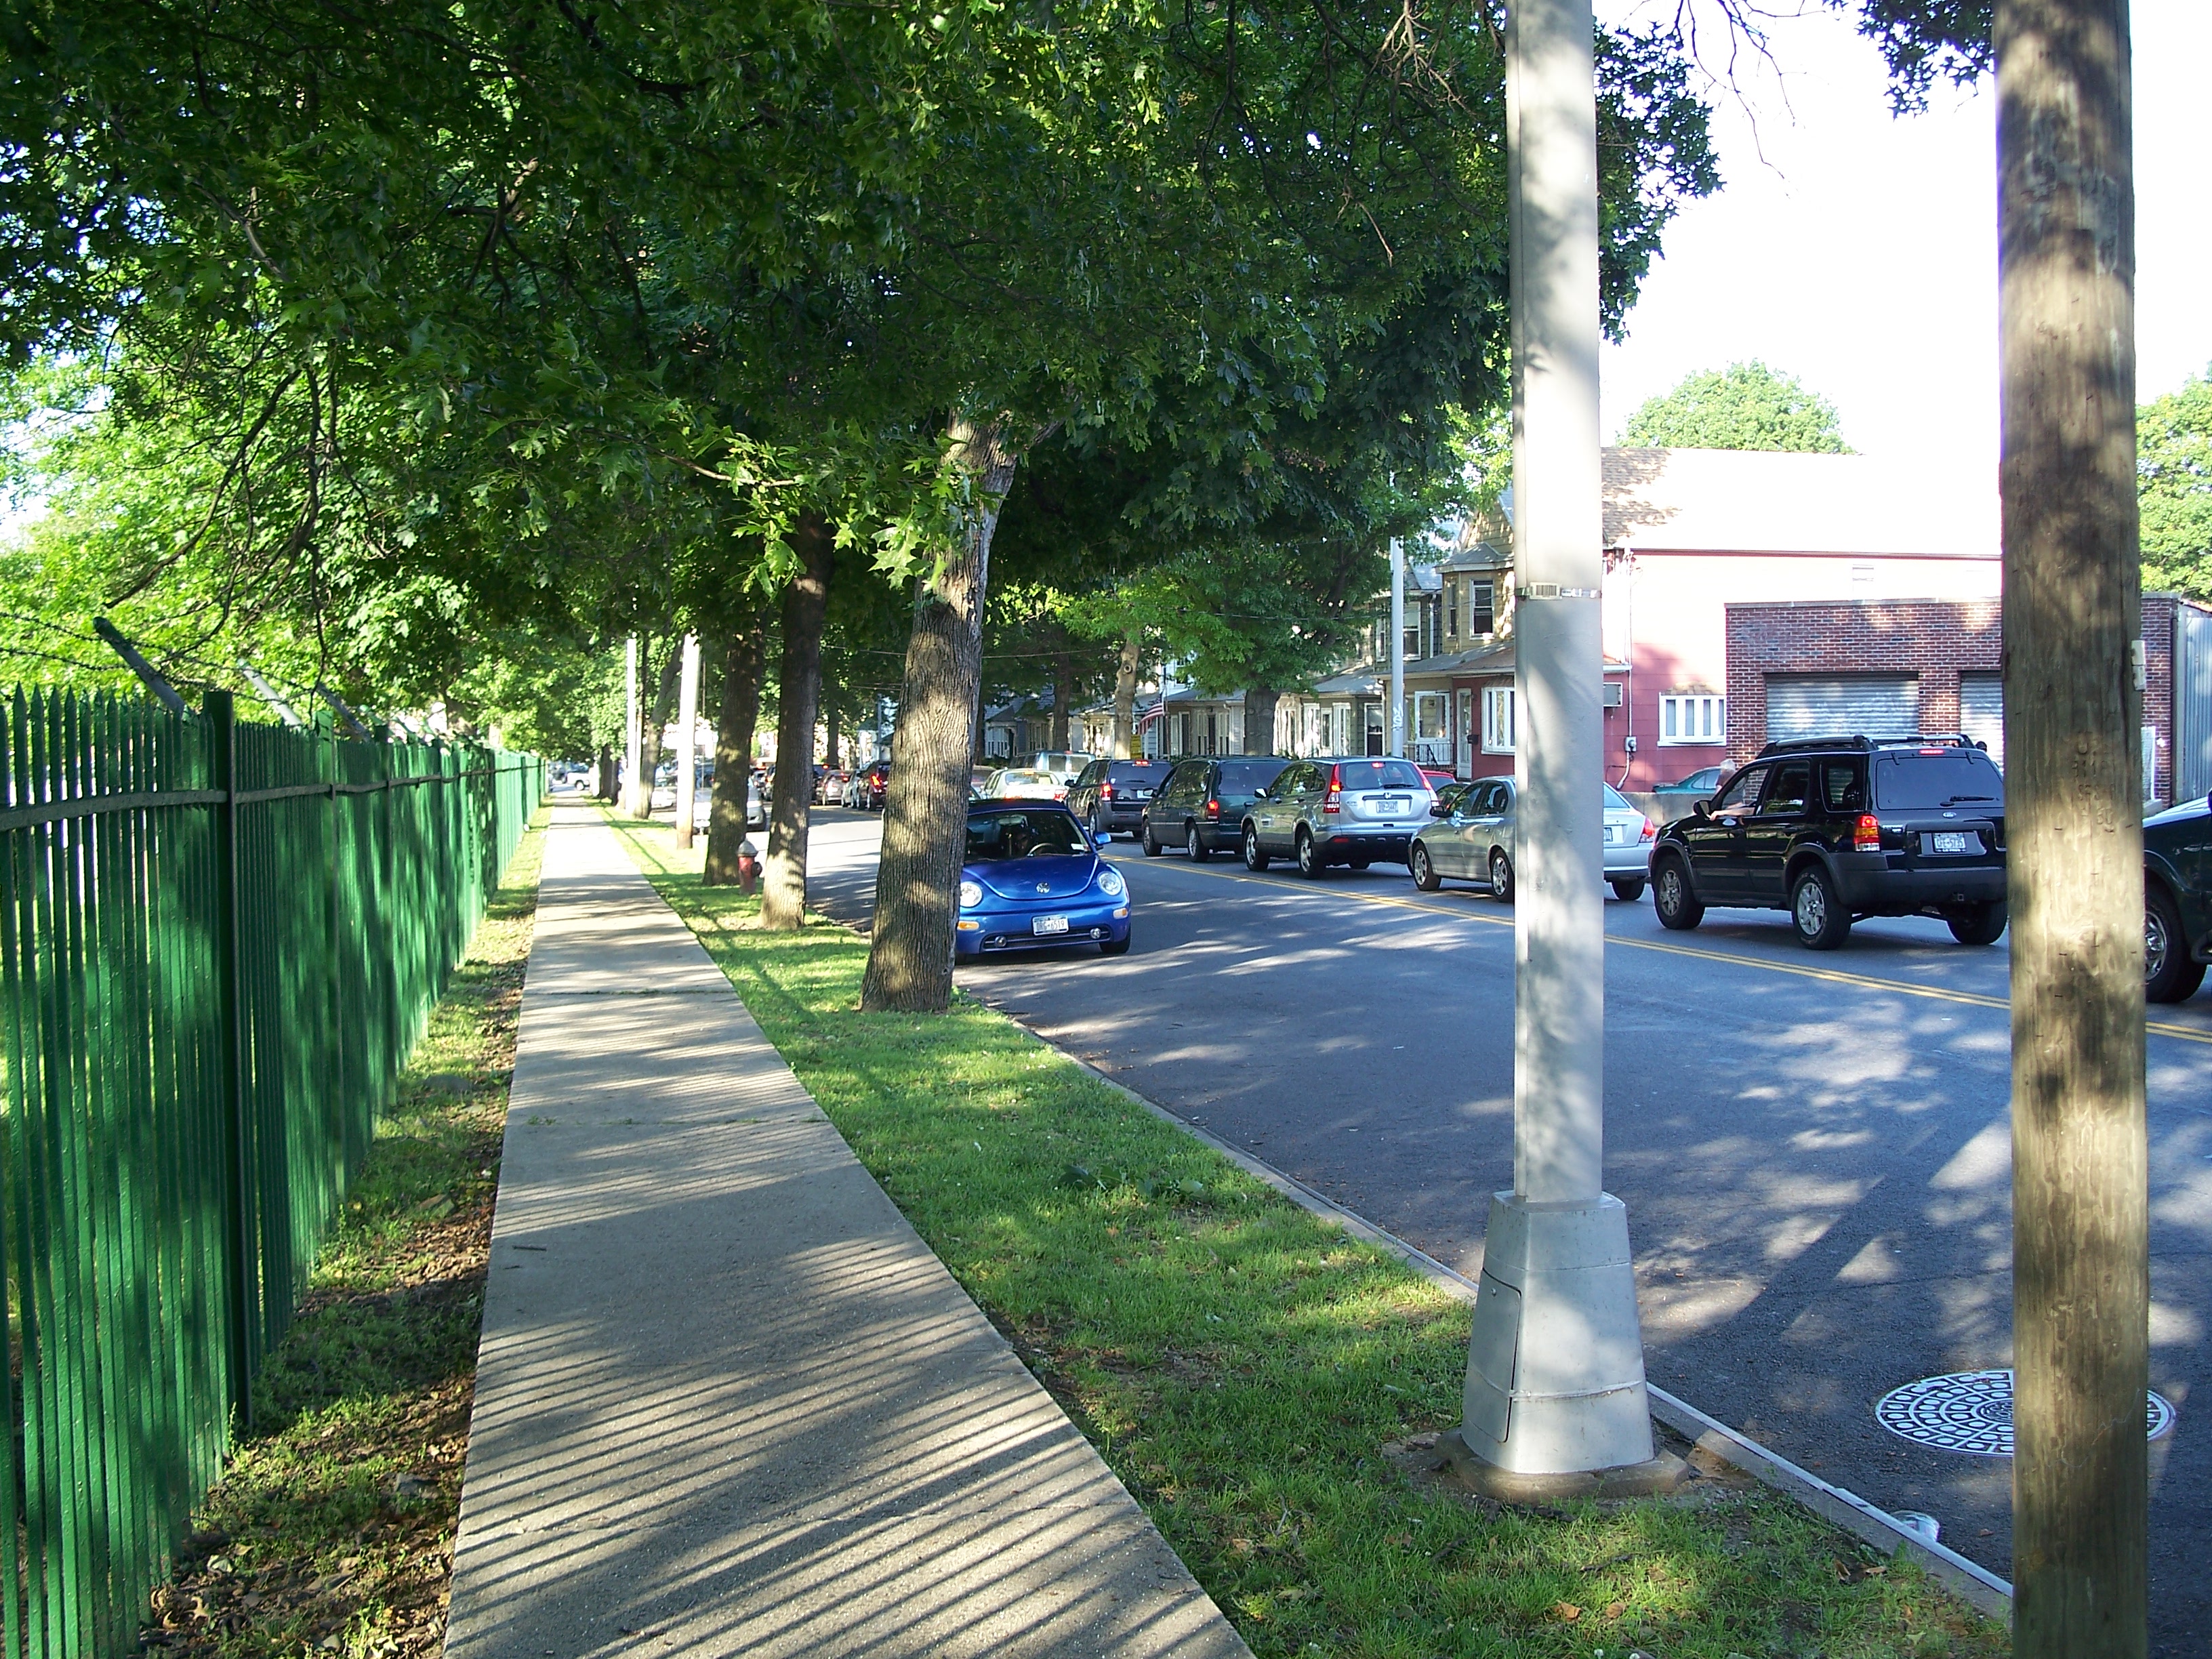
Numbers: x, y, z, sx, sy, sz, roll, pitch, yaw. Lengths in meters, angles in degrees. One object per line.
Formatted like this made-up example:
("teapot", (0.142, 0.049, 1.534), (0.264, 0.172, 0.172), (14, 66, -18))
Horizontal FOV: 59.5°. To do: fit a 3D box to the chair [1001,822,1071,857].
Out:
("chair", (-0.702, 0.092, 20.806), (0.793, 0.348, 0.466), (-2, 1, -4))
